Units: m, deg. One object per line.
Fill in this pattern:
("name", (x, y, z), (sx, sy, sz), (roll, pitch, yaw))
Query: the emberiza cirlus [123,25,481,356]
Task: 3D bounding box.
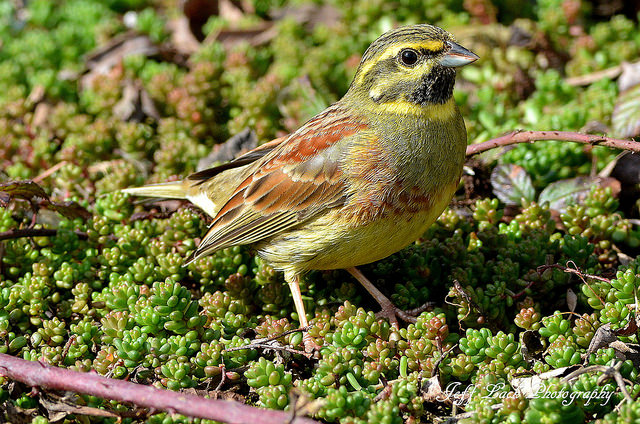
("emberiza cirlus", (0.190, -0.225, 4.654), (2.014, 2.080, 2.274), (-11, 17, -39))
